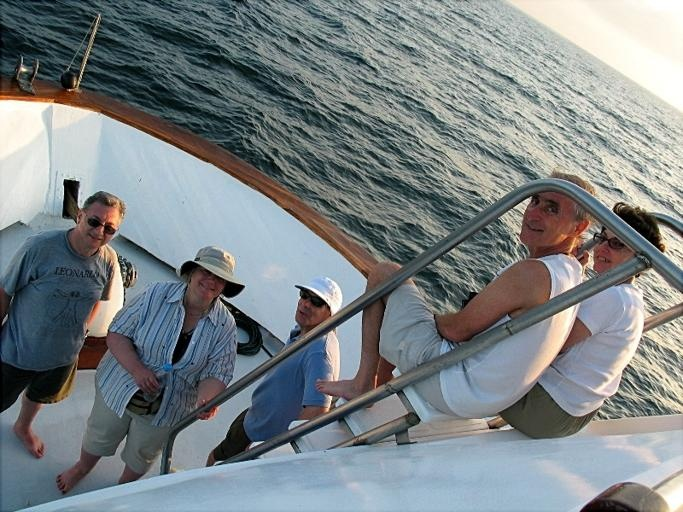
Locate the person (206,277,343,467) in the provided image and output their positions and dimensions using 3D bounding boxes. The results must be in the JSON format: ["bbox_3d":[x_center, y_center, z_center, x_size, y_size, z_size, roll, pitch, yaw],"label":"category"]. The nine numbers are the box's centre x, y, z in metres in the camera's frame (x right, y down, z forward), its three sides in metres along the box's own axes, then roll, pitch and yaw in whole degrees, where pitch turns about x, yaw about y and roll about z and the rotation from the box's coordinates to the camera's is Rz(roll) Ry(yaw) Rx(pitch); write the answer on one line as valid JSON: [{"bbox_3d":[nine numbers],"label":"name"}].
[{"bbox_3d":[-0.458,0.804,5.394,0.505,1.409,0.683,35,14,-34],"label":"person"}]

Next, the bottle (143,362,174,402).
[{"bbox_3d":[-1.207,0.822,5.298,0.098,0.258,0.186,14,-21,43],"label":"bottle"}]

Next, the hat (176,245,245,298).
[{"bbox_3d":[-0.832,0.057,5.467,0.429,0.334,0.220,37,47,-16],"label":"hat"}]

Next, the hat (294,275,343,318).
[{"bbox_3d":[-0.110,0.286,5.619,0.222,0.163,0.314,23,-16,34],"label":"hat"}]
